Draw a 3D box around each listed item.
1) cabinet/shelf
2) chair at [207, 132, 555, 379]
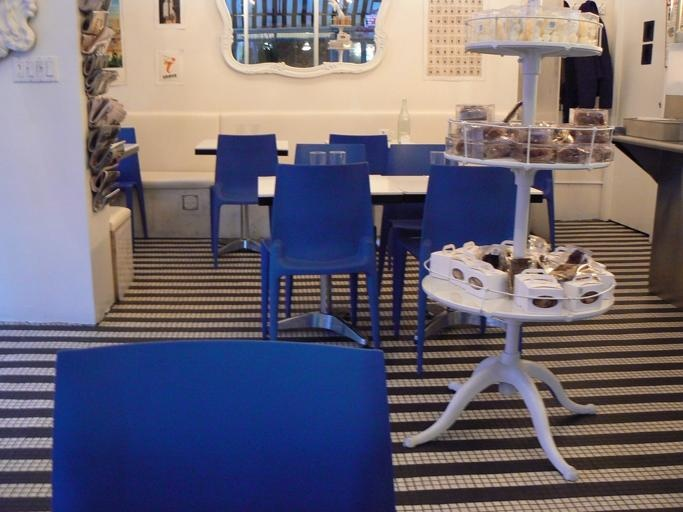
[{"bbox_3d":[0.638,-0.047,2.108,0.721,1.652,0.590,8,19,24],"label":"cabinet/shelf"},{"bbox_3d":[0.194,-0.003,2.854,1.201,0.998,1.188,2,22,4],"label":"chair"}]
